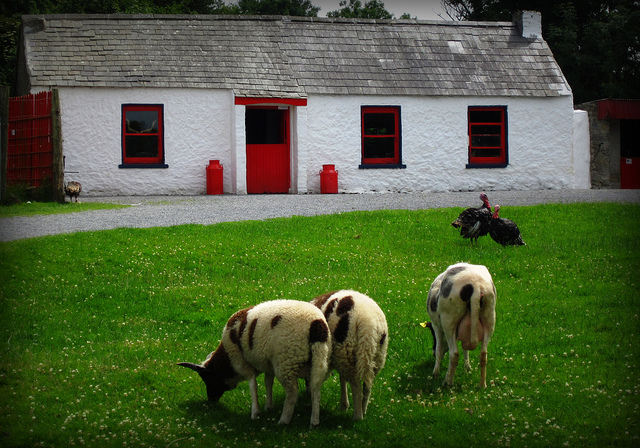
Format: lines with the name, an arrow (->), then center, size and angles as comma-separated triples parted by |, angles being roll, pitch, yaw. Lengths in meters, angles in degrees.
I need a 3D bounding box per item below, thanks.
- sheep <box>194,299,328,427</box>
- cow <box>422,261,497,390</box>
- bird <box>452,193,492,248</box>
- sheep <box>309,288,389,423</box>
sheep -> -0.849, 2.294, 13.768 | 1.179, 1.957, 2.821 | 3, 6, 37
cow -> 2.493, 1.794, 14.053 | 1.177, 2.190, 0.825 | 1, 3, 18
bird -> 3.898, -0.087, 20.165 | 0.818, 1.433, 1.007 | 0, 12, -7
sheep -> 0.274, 2.300, 14.303 | 1.104, 2.202, 2.654 | 3, -3, -27
